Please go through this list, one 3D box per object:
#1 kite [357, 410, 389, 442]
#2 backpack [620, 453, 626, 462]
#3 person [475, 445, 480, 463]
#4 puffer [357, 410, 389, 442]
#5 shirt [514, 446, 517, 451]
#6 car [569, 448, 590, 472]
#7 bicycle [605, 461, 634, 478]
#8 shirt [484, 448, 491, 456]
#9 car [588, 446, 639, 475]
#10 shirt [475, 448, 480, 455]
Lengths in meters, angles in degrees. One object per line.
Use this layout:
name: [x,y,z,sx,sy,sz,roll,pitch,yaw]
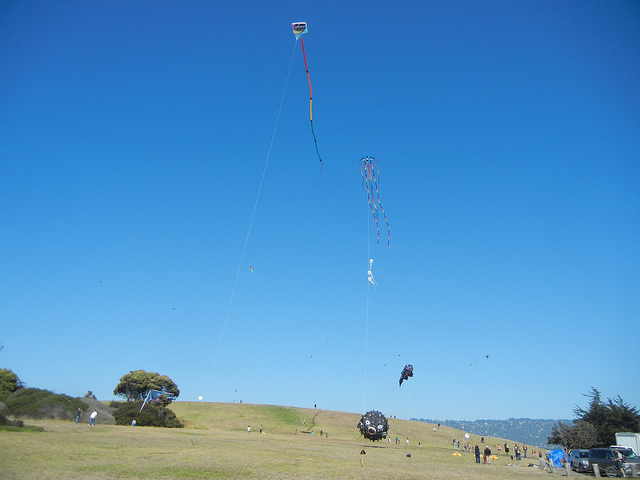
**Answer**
kite: [4.720,16.130,46.097,2.274,2.187,2.019,2,-28,7]
backpack: [20.913,15.057,36.312,0.249,0.391,0.349,7,-14,9]
person: [14.327,19.590,48.063,0.340,1.417,1.197,-3,-29,16]
puffer: [4.776,16.586,47.055,2.844,3.128,3.006,3,2,7]
shirt: [22.253,23.724,59.820,0.225,0.435,0.713,-3,-30,16]
car: [20.430,17.328,41.491,0.850,1.826,3.842,-1,-29,11]
bicycle: [20.476,15.726,36.152,0.521,1.093,2.333,9,-29,-6]
shirt: [15.450,19.568,48.806,0.460,0.761,1.245,-3,-30,16]
car: [21.072,15.677,37.788,1.633,1.663,3.066,8,-36,-3]
shirt: [14.301,19.215,48.031,0.331,0.598,0.779,-2,-29,14]
